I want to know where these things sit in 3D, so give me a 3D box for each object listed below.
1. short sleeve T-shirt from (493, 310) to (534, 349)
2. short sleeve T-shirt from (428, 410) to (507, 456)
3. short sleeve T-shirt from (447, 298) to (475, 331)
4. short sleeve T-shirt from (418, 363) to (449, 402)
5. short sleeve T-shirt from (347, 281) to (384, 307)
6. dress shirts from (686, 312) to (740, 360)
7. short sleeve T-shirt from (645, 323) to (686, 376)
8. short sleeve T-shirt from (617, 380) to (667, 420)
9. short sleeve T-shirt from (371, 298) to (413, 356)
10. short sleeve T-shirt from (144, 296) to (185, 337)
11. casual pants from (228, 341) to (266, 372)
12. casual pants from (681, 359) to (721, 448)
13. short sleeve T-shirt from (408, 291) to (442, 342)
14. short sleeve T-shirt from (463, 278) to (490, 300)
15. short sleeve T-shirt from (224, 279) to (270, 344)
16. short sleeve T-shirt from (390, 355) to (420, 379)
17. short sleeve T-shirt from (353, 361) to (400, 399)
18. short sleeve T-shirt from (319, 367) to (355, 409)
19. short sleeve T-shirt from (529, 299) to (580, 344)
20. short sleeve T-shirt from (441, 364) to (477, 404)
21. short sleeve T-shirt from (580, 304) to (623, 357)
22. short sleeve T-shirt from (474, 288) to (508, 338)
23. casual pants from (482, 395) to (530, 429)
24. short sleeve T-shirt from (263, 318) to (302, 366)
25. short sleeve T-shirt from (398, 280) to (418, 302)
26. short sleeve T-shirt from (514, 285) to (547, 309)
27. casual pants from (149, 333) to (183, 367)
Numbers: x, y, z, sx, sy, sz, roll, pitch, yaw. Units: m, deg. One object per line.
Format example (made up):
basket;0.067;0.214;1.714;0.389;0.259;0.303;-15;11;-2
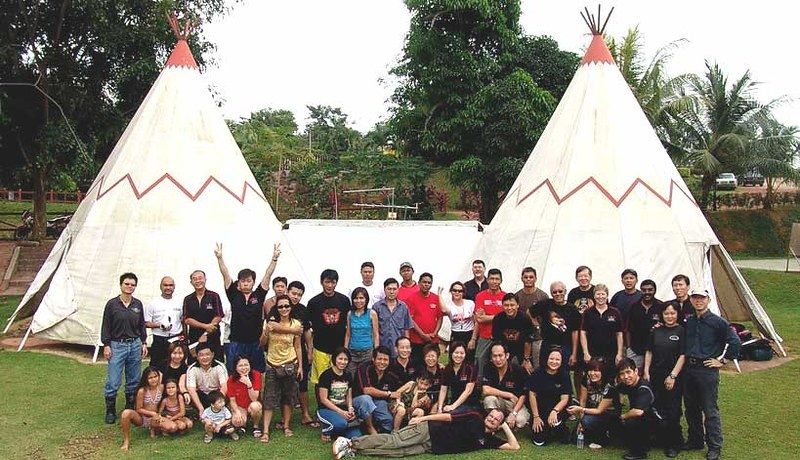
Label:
short sleeve T-shirt;2.390;2.130;12.754;1.075;0.851;0.387;-9;26;-15
short sleeve T-shirt;1.315;4.066;11.772;1.418;0.718;0.401;-3;9;-6
short sleeve T-shirt;1.380;1.881;13.212;0.815;0.726;0.429;0;-8;-2
short sleeve T-shirt;0.699;3.187;12.397;0.659;0.712;0.731;0;3;0
short sleeve T-shirt;-0.794;1.483;13.496;0.748;0.660;0.377;1;-5;-10
dress shirts;6.189;2.088;11.698;0.954;0.949;0.364;2;-12;-2
short sleeve T-shirt;5.473;2.394;12.123;0.727;0.970;0.522;6;7;23
short sleeve T-shirt;4.967;3.355;12.017;0.590;0.751;1.023;-21;7;6
short sleeve T-shirt;-0.196;2.052;12.880;0.950;1.087;0.445;1;6;3
short sleeve T-shirt;-5.176;1.921;13.051;1.040;0.830;0.511;5;-7;-38
casual pants;-3.266;2.669;12.490;0.768;0.657;0.404;0;-6;-9
casual pants;6.028;3.493;11.753;0.567;1.690;0.772;11;-11;-20
short sleeve T-shirt;0.535;1.921;13.028;1.119;1.255;0.731;1;-8;-13
short sleeve T-shirt;1.707;1.386;13.868;0.769;0.689;0.407;1;-9;-3
short sleeve T-shirt;-3.355;1.720;12.819;0.869;1.232;0.468;2;4;-20
short sleeve T-shirt;0.091;2.736;12.309;0.706;0.608;0.365;-1;-2;-13
short sleeve T-shirt;-0.498;3.142;12.351;0.989;0.630;0.586;13;-21;2
short sleeve T-shirt;-1.309;3.229;12.131;0.822;0.743;0.445;3;6;-30
short sleeve T-shirt;3.372;1.929;12.769;1.179;0.902;0.538;6;14;25
short sleeve T-shirt;1.229;3.146;12.097;0.860;0.891;0.515;-1;-6;8
short sleeve T-shirt;4.276;2.185;12.537;1.208;1.362;0.514;0;-2;2
short sleeve T-shirt;2.071;1.878;13.172;0.877;1.028;0.604;3;5;10
casual pants;2.198;3.673;12.129;0.831;0.276;0.655;20;7;11
short sleeve T-shirt;-2.435;2.319;12.247;0.998;0.924;0.524;3;-10;-7
short sleeve T-shirt;0.187;1.388;13.384;0.496;0.615;0.345;3;-37;5
short sleeve T-shirt;2.887;1.534;13.271;0.830;0.740;0.434;1;-10;9
casual pants;-5.026;2.587;12.682;0.676;0.869;0.530;5;-6;2
